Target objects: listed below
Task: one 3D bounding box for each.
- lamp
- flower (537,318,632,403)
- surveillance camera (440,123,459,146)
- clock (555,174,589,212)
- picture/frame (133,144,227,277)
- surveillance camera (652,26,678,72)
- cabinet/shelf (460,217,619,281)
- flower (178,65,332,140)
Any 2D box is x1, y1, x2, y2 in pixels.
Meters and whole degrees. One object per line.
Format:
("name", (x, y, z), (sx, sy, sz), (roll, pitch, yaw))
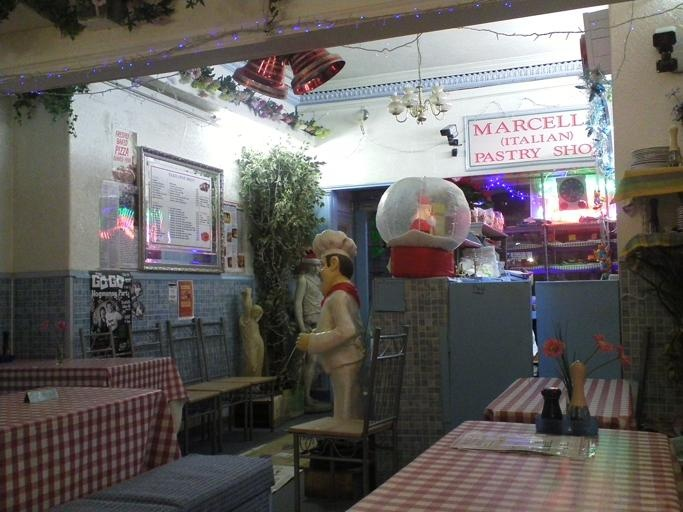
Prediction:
("lamp", (0.945, -2.013, 7.036), (0.739, 0.665, 1.279), (-2, -1, 9))
("flower", (1.430, 0.591, 3.311), (0.427, 0.495, 0.412), (3, 9, 12))
("surveillance camera", (1.339, -1.526, 7.311), (0.214, 0.198, 0.289), (-3, -2, 37))
("clock", (2.906, -0.774, 7.236), (0.353, 0.352, 0.159), (-2, -1, 22))
("picture/frame", (-1.676, -0.448, 5.854), (0.105, 1.179, 1.374), (-3, -3, 19))
("surveillance camera", (2.204, -1.380, 3.918), (0.157, 0.273, 0.126), (-2, -1, 21))
("cabinet/shelf", (2.686, -0.072, 7.410), (1.330, 0.605, 0.145), (-2, -1, 21))
("flower", (-1.015, -1.846, 6.757), (0.541, 0.524, 2.427), (-2, -1, 28))
